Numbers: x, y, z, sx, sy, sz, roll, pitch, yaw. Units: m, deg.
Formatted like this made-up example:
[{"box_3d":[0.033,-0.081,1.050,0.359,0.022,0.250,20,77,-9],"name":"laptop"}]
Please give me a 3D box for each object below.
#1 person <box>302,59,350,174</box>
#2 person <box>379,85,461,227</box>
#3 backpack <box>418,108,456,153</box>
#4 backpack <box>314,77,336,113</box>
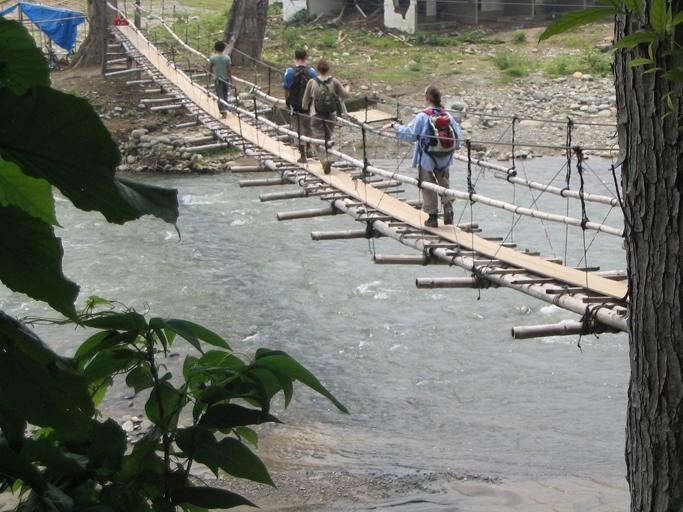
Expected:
[{"box_3d":[-0.260,-2.386,23.034,0.755,2.028,0.992,-5,20,-7],"name":"person"},{"box_3d":[1.386,-1.513,21.007,0.955,2.297,0.850,-1,20,4],"name":"person"},{"box_3d":[1.569,-1.882,20.694,0.559,0.747,0.359,-5,20,-10],"name":"backpack"},{"box_3d":[-0.273,-2.662,22.725,0.391,0.595,0.289,-2,20,-1],"name":"backpack"}]
